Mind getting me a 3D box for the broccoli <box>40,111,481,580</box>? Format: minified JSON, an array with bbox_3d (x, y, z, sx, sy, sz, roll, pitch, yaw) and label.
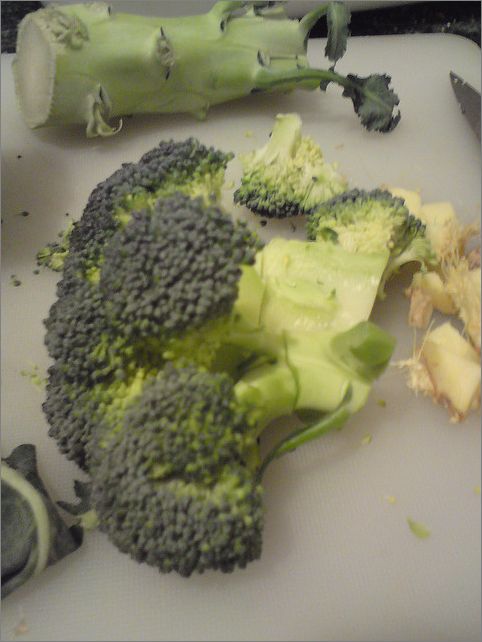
[{"bbox_3d":[-0.036,0.034,1.045,0.749,0.359,0.573,-19,92,-32],"label":"broccoli"}]
